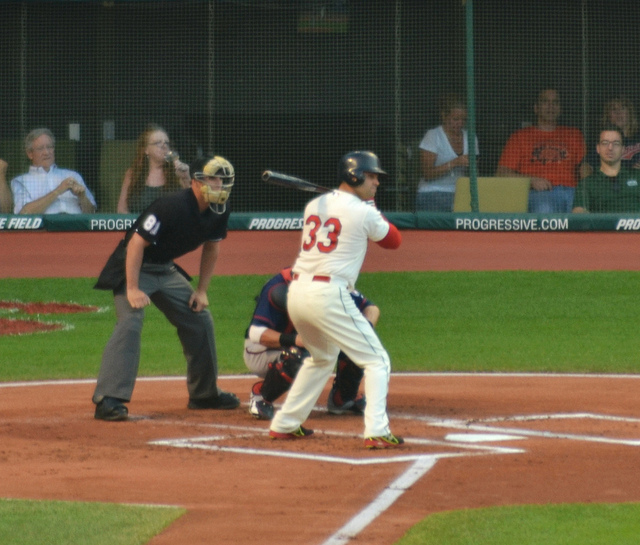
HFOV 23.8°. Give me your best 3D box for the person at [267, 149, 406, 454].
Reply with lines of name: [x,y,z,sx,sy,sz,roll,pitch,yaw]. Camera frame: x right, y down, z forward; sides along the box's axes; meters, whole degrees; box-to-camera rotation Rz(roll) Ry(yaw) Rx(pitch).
person: [0.171,0.274,14.221,1.150,2.696,0.753,1,13,4]

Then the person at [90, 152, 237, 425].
person: [-1.539,0.162,14.988,1.419,2.557,0.625,-4,13,-16]

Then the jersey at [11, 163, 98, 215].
jersey: [-4.007,-1.232,22.526,1.185,0.708,0.397,-2,13,-11]

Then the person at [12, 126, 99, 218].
person: [-3.990,-1.427,22.616,0.878,0.881,1.618,-6,56,-35]

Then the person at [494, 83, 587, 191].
person: [3.476,-1.842,22.992,1.436,1.991,1.095,1,-21,8]

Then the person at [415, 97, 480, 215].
person: [1.891,-1.712,22.871,0.900,1.519,0.610,0,13,0]

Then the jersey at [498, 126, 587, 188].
jersey: [3.449,-1.812,23.019,1.185,0.874,0.307,12,-13,10]
